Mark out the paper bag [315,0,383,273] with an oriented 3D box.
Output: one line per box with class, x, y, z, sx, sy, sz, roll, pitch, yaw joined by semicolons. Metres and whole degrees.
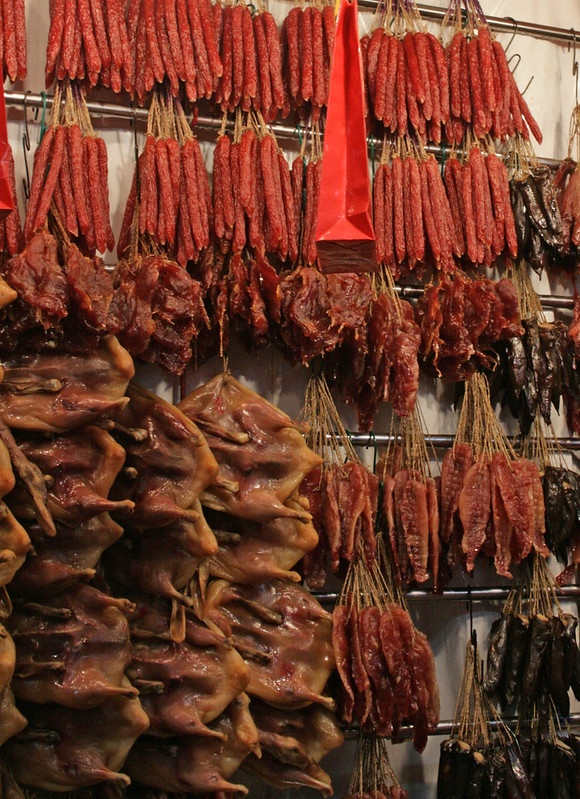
paper bag;0.105;-0.470;1.325;0.101;0.474;0.200;2;-3;6
